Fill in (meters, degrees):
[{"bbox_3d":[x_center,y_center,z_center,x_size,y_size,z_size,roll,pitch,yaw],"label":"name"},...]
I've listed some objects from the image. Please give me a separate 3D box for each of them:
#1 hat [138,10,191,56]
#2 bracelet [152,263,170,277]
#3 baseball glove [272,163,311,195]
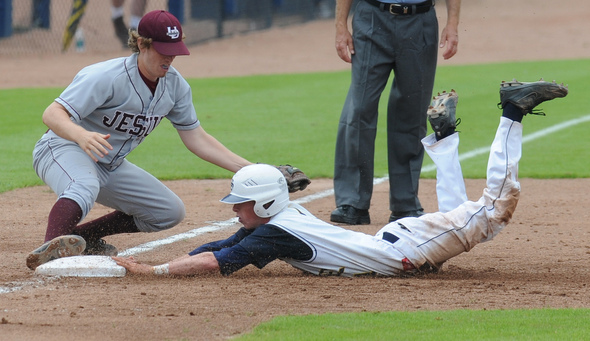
[{"bbox_3d":[-1.408,-1.556,9.916,0.511,0.326,0.674,-17,50,-27],"label":"hat"},{"bbox_3d":[-1.444,1.074,9.694,0.165,0.099,0.122,5,3,3],"label":"bracelet"},{"bbox_3d":[-0.109,0.048,10.102,0.488,0.191,0.366,25,29,30],"label":"baseball glove"}]
